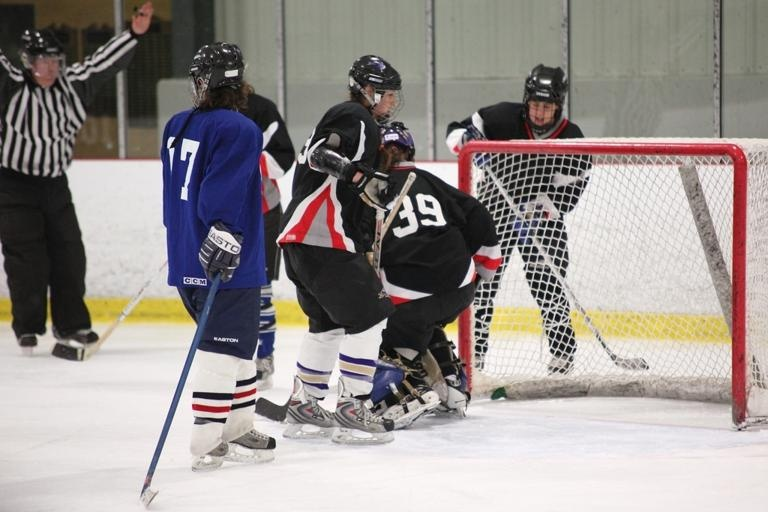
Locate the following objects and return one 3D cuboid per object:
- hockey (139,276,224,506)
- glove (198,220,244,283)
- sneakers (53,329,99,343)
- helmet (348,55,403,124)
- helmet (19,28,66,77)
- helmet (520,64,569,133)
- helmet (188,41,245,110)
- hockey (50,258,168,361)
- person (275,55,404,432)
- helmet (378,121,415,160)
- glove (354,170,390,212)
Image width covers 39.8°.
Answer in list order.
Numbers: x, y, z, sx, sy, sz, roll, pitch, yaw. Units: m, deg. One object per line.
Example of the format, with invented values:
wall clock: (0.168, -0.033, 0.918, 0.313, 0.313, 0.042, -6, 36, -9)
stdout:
hockey: (-1.100, 0.760, 5.782, 0.162, 1.118, 0.129, 25, -11, -17)
glove: (-0.776, -0.016, 5.238, 0.196, 0.326, 0.254, 12, 17, 1)
sneakers: (-2.083, 0.546, 7.198, 0.192, 0.073, 0.131, 1, -1, 2)
helmet: (-0.067, -0.943, 5.892, 0.371, 0.385, 0.307, -5, 20, -6)
helmet: (-2.182, -1.277, 6.809, 0.254, 0.300, 0.325, -12, 25, -37)
helmet: (1.034, -0.986, 6.797, 0.265, 0.454, 0.262, 3, 8, 6)
helmet: (-0.863, -0.916, 5.386, 0.311, 0.292, 0.247, -11, 11, -38)
hockey: (-1.985, 0.388, 7.679, 0.142, 0.799, 0.116, 32, -19, 22)
person: (-0.240, -0.032, 5.658, 0.641, 2.043, 0.463, 2, 8, -2)
helmet: (0.067, -0.621, 5.824, 0.228, 0.201, 0.174, -1, -23, -21)
glove: (-0.066, -0.345, 5.441, 0.192, 0.208, 0.103, 1, 8, -5)
